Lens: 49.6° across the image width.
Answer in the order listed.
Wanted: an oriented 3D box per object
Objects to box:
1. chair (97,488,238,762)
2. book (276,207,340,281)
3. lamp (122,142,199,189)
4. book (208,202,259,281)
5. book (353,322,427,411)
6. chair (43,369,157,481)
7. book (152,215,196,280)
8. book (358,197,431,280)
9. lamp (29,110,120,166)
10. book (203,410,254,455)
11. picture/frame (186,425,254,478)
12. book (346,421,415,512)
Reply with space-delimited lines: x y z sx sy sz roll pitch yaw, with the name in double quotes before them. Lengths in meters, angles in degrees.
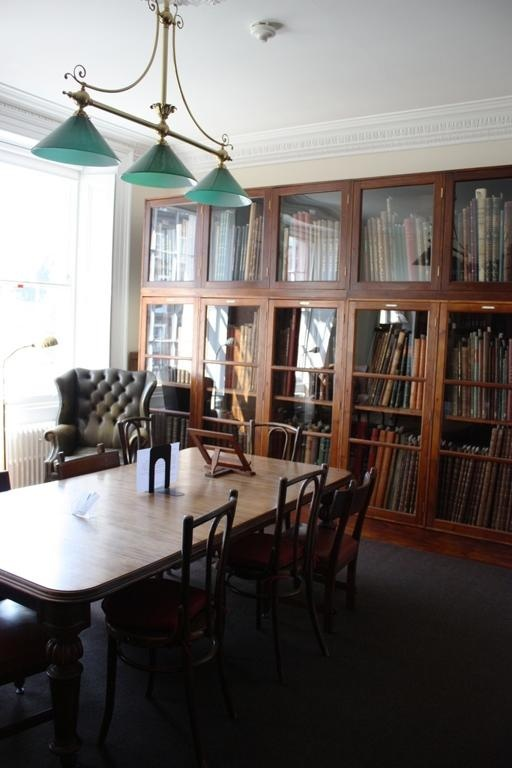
"chair" -0.286 0.710 1.735 0.429 0.767 0.463 2 2 5
"book" 0.400 -1.047 4.097 0.522 0.593 0.047 7 10 32
"lamp" -0.362 -0.897 2.236 0.300 0.167 0.308 8 22 15
"book" -0.162 -1.122 4.311 0.567 0.701 0.057 6 6 34
"book" 0.966 -0.117 3.874 0.436 0.583 0.235 3 1 33
"chair" -1.150 0.363 4.186 0.759 0.936 0.709 4 3 13
"book" -0.678 -1.173 4.673 0.523 0.689 0.054 6 6 37
"book" 0.961 -1.007 3.783 0.537 0.713 0.064 6 10 29
"lamp" -0.616 -0.886 1.964 0.249 0.139 0.234 12 14 24
"book" -0.289 0.389 4.371 0.355 0.386 0.101 4 18 23
"picture/frame" -0.187 0.372 3.099 0.292 0.269 0.211 4 11 26
"book" 0.850 0.537 3.675 0.619 0.610 0.215 5 3 29
